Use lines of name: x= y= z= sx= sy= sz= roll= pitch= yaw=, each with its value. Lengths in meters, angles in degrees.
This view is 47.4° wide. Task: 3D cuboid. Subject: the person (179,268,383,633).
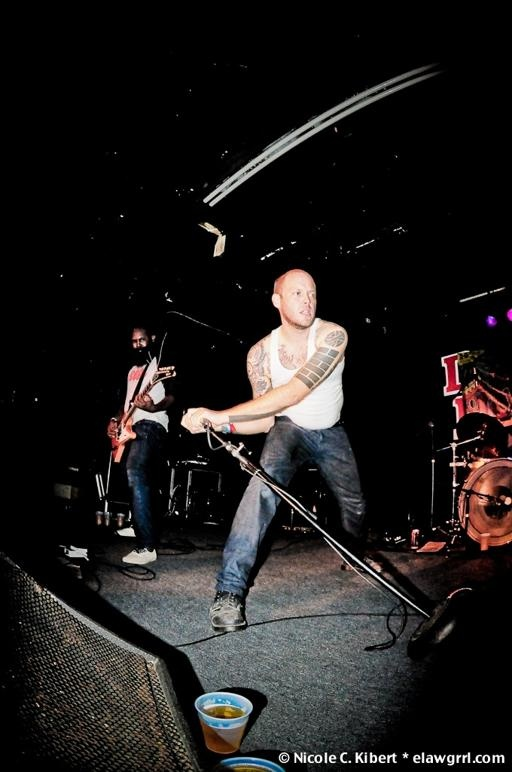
person: x=0.169 y=0.211 z=2.937 sx=0.681 sy=1.747 sz=1.118 roll=1 pitch=-3 yaw=24

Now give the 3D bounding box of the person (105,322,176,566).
person: x=-0.850 y=0.334 z=4.346 sx=0.449 sy=1.690 sz=1.520 roll=3 pitch=-3 yaw=-14

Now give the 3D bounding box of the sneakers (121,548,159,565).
sneakers: x=-0.726 y=1.078 z=3.684 sx=0.179 sy=0.075 sz=0.091 roll=13 pitch=-21 yaw=-25

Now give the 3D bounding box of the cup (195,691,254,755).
cup: x=-0.085 y=0.899 z=1.569 sx=0.144 sy=0.105 sz=0.144 roll=2 pitch=-11 yaw=0

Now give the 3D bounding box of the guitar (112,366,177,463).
guitar: x=-0.872 y=0.194 z=4.419 sx=0.152 sy=0.358 sz=0.852 roll=9 pitch=-35 yaw=-23

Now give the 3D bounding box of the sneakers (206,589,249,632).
sneakers: x=-0.114 y=0.957 z=2.491 sx=0.156 sy=0.136 sz=0.173 roll=3 pitch=-3 yaw=-7
